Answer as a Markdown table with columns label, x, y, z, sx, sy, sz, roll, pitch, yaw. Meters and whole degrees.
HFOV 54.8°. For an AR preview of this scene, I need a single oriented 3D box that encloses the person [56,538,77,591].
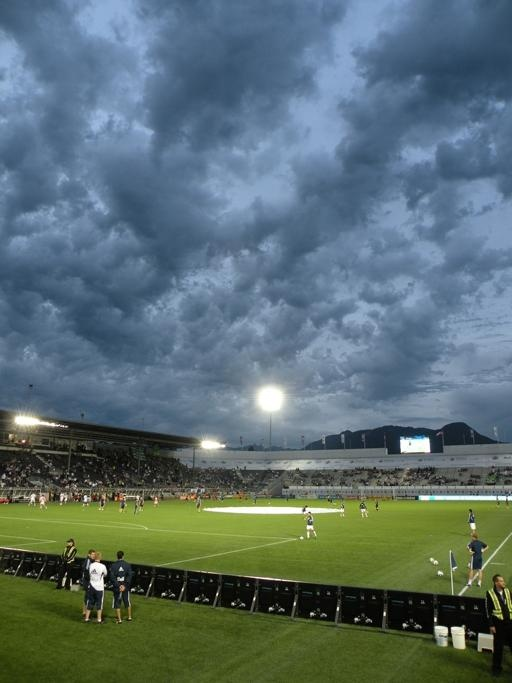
| label | x | y | z | sx | sy | sz | roll | pitch | yaw |
| --- | --- | --- | --- | --- | --- | --- | --- | --- | --- |
| person | -6.501 | 7.583 | 16.964 | 0.521 | 1.677 | 1.538 | 8 | -14 | -18 |

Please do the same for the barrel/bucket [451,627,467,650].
| label | x | y | z | sx | sy | sz | roll | pitch | yaw |
| --- | --- | --- | --- | --- | --- | --- | --- | --- | --- |
| barrel/bucket | 4.535 | 6.683 | 11.125 | 0.308 | 0.428 | 0.246 | 1 | -14 | 8 |

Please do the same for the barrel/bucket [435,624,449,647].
| label | x | y | z | sx | sy | sz | roll | pitch | yaw |
| --- | --- | --- | --- | --- | --- | --- | --- | --- | --- |
| barrel/bucket | 4.123 | 6.766 | 11.347 | 0.386 | 0.408 | 0.415 | 2 | -24 | 1 |
